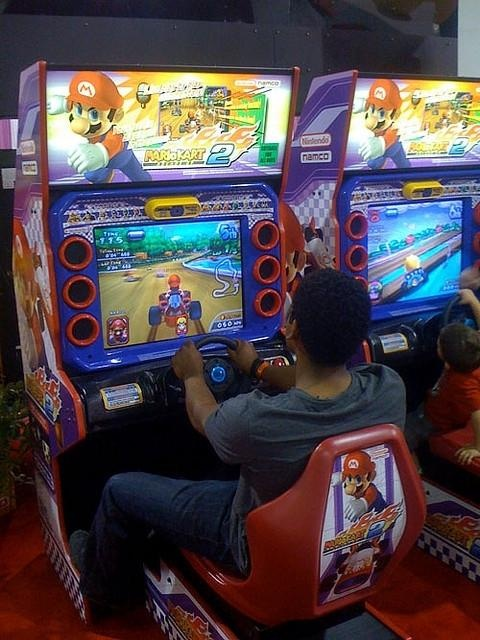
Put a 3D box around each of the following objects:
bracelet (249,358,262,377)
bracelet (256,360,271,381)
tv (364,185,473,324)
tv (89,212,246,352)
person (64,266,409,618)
[{"bbox_3d":[0.057,0.161,1.657,0.029,0.042,0.056,38,-1,-20],"label":"bracelet"},{"bbox_3d":[0.073,0.168,1.648,0.043,0.067,0.063,23,-2,0],"label":"bracelet"},{"bbox_3d":[0.861,-0.335,2.411,0.672,0.476,0.053,-12,15,-24],"label":"tv"},{"bbox_3d":[-0.271,-0.140,1.698,0.492,0.335,0.012,-13,18,-28],"label":"tv"},{"bbox_3d":[-0.053,0.382,1.296,0.515,1.023,0.838,-4,7,-32],"label":"person"}]
